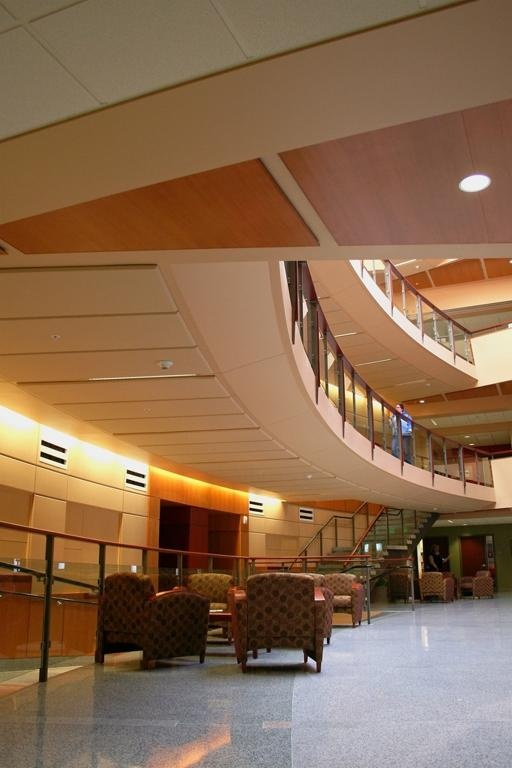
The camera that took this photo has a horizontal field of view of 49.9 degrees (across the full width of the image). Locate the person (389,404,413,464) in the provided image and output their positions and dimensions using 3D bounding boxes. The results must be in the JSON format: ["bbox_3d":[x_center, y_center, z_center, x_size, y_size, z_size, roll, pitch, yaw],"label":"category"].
[{"bbox_3d":[3.718,1.336,13.907,0.360,1.200,1.860,-7,-18,23],"label":"person"}]
